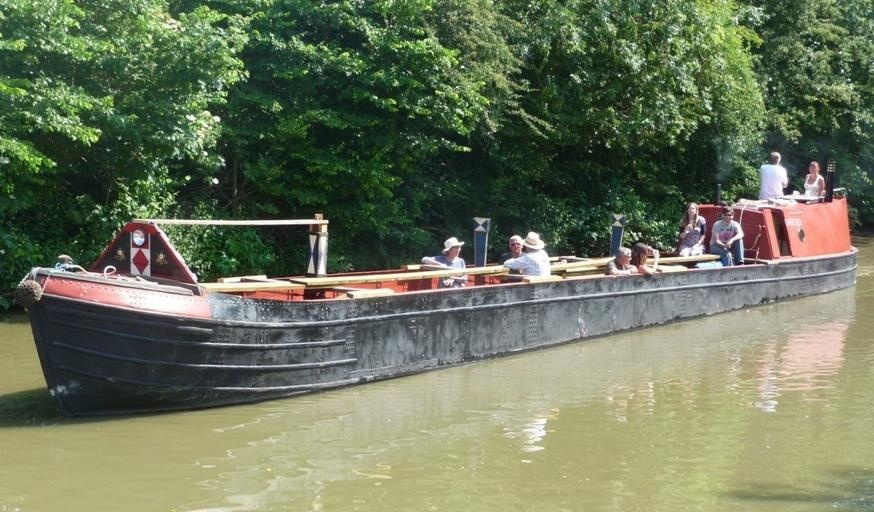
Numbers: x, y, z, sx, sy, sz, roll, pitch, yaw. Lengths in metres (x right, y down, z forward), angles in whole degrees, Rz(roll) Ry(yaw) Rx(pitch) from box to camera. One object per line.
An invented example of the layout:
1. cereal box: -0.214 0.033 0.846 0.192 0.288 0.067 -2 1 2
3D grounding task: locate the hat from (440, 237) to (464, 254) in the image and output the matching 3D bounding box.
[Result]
1. hat: 0.451 -0.349 33.118 0.762 0.278 0.669 -32 -7 32

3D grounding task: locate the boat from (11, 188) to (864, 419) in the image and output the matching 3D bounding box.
1. boat: -0.092 1.273 28.347 27.426 3.488 5.101 -3 5 -35

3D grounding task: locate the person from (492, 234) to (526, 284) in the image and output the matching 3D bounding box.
1. person: 2.099 0.135 28.258 0.829 1.267 0.855 -11 -6 17

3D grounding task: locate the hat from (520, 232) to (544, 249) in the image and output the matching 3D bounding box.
1. hat: 2.350 -0.348 28.305 0.656 0.235 0.586 19 21 21

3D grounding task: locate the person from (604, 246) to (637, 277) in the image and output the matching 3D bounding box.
1. person: 4.921 0.146 29.940 0.816 0.913 0.785 -1 3 21
